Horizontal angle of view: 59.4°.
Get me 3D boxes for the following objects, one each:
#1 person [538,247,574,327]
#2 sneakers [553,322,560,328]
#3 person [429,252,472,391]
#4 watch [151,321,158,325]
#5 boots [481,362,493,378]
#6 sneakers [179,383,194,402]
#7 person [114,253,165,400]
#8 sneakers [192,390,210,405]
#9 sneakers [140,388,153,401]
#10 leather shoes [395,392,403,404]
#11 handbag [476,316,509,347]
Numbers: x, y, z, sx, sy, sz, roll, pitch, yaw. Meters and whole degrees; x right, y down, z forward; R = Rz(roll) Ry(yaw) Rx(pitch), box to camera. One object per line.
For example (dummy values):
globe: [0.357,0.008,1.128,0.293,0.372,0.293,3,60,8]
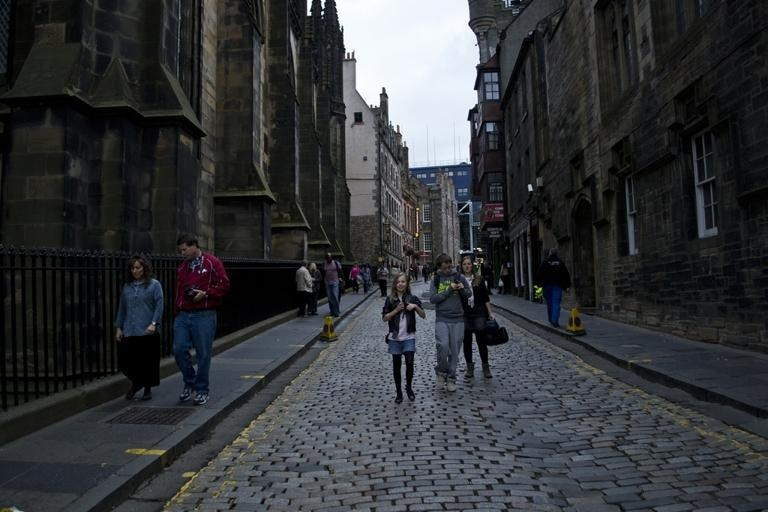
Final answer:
person: [4.185,0.789,16.573,0.713,2.008,1.408,1,8,14]
sneakers: [4.240,1.689,16.552,0.109,0.102,0.130,-2,-9,-19]
person: [1.013,1.058,11.008,0.556,2.175,0.604,2,8,23]
watch: [-3.501,1.015,10.268,0.063,0.023,0.067,1,5,27]
boots: [1.790,1.951,11.694,0.161,0.272,0.351,0,8,7]
sneakers: [-3.080,2.143,10.512,0.130,0.156,0.347,0,-9,-1]
person: [-3.764,1.025,10.370,0.678,1.980,0.440,-3,8,-14]
sneakers: [-2.799,2.149,10.283,0.222,0.176,0.266,-3,8,-14]
sneakers: [-3.764,2.164,10.548,0.230,0.244,0.110,1,-9,-11]
leather shoes: [0.235,2.175,10.408,0.123,0.126,0.232,-1,8,-1]
handbag: [1.920,1.318,11.761,0.424,0.445,0.311,0,8,8]
